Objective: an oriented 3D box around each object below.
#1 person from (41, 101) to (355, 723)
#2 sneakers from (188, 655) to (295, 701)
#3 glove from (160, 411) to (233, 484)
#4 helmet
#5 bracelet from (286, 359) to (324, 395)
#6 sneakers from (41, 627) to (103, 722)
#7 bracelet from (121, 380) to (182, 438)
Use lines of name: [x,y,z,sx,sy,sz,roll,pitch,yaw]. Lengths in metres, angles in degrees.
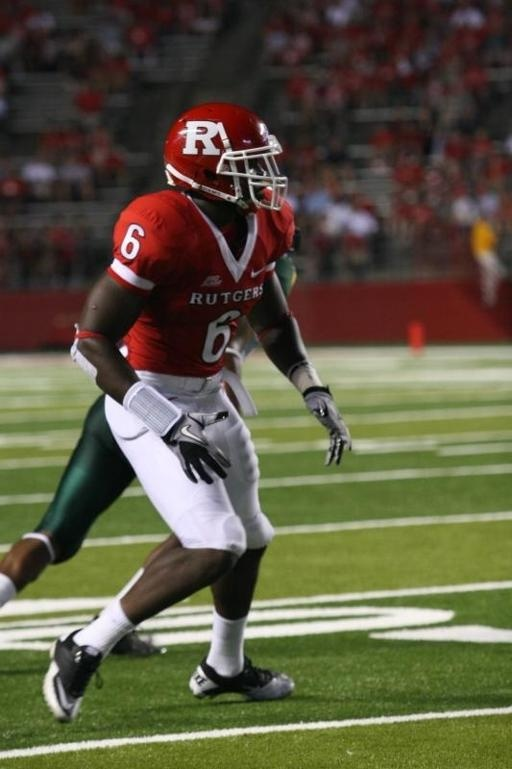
person: [-0.103,0.056,1.913,0.512,1.419,0.699,-1,2,22]
sneakers: [-0.030,0.706,2.036,0.300,0.101,0.090,1,-3,-5]
glove: [-0.127,0.103,1.671,0.055,0.146,0.187,-25,-30,28]
helmet: [-0.034,-0.532,1.944,0.327,0.213,0.244,14,30,27]
bracelet: [0.126,-0.017,2.142,0.074,0.041,0.102,-6,22,-15]
sneakers: [-0.352,0.588,1.725,0.125,0.079,0.222,-23,39,12]
bracelet: [-0.203,0.049,1.594,0.124,0.096,0.048,41,3,7]
